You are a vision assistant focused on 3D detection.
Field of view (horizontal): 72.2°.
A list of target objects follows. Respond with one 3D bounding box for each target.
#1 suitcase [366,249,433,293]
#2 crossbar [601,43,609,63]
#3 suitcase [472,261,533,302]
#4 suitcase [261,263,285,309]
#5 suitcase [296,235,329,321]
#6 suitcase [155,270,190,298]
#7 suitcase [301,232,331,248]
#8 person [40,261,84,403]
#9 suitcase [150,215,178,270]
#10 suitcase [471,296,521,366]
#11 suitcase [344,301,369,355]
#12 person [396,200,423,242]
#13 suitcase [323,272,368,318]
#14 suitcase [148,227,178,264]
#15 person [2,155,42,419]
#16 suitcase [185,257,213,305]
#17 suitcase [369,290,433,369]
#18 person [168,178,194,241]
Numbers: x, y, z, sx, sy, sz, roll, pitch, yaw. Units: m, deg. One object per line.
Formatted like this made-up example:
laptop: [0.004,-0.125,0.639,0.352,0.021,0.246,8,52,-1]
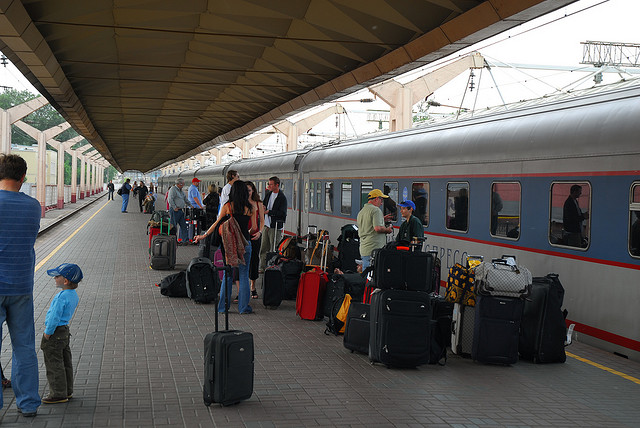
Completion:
suitcase: [1.223,0.740,6.376,0.787,0.587,0.458,2,13,4]
crossbar: [19.103,-10.894,29.488,0.168,1.709,0.134,-30,17,-6]
suitcase: [2.684,0.976,6.444,0.734,0.561,0.571,6,-10,12]
suitcase: [-0.988,1.563,9.409,0.443,0.850,0.457,3,2,-5]
suitcase: [-0.089,1.228,8.762,0.561,1.708,0.505,3,-5,21]
suitcase: [-3.331,1.610,10.144,0.628,0.272,0.546,1,3,-16]
suitcase: [-0.071,0.703,11.999,0.783,0.445,1.159,-2,2,5]
person: [-2.953,1.357,5.051,0.376,1.520,0.509,2,2,-30]
suitcase: [-4.815,0.871,13.567,0.693,1.664,0.639,2,3,-16]
suitcase: [2.681,1.773,6.466,0.699,1.132,0.428,-4,-38,37]
suitcase: [0.632,1.752,6.887,0.508,0.803,0.403,10,12,4]
person: [1.965,0.135,9.504,0.564,0.959,0.877,3,-7,-14]
suitcase: [0.599,1.540,8.386,0.696,1.074,0.952,3,-8,-16]
suitcase: [-5.703,1.161,16.214,0.988,2.026,1.230,-1,5,-20]
person: [-3.213,0.739,4.755,0.378,2.713,0.888,1,3,-33]
suitcase: [-2.506,1.444,9.768,0.665,1.033,0.540,-4,12,9]
suitcase: [1.260,1.751,6.391,0.788,1.141,0.623,2,-26,10]
person: [-5.368,-0.150,16.968,0.794,2.475,0.939,3,2,45]
